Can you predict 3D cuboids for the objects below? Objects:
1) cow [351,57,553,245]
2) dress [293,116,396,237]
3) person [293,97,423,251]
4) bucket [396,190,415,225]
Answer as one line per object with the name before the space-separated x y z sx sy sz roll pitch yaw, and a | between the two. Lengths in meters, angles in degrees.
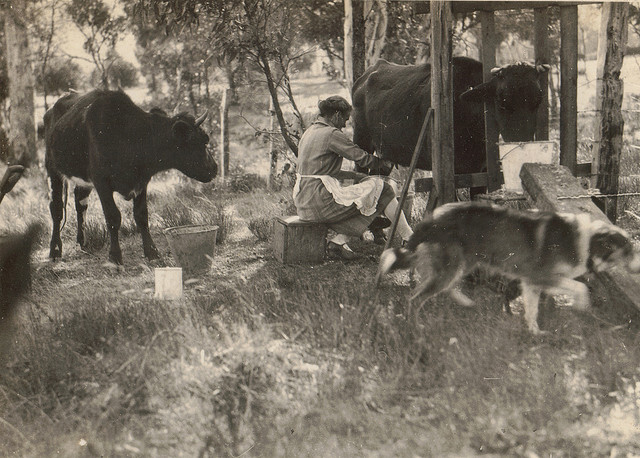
cow | 1.408 -1.161 9.528 2.868 2.084 0.908 7 20 45
dress | 0.212 -0.583 8.445 0.702 1.770 0.785 -2 5 -26
person | 0.244 -0.743 8.381 1.138 1.428 0.500 -6 12 -6
bucket | 1.056 -0.254 9.020 0.280 0.391 0.345 -1 -1 -5
